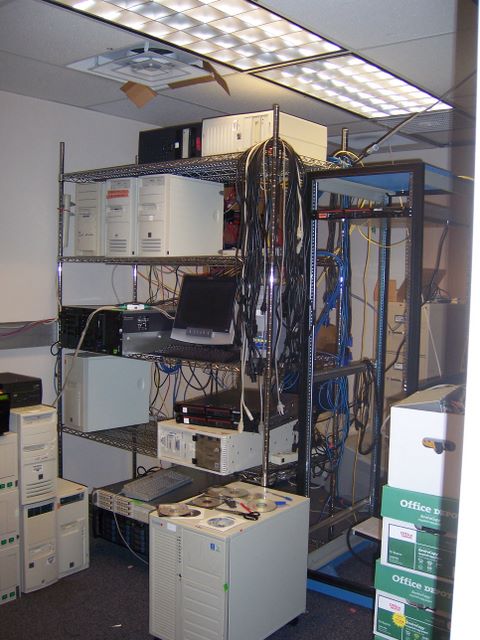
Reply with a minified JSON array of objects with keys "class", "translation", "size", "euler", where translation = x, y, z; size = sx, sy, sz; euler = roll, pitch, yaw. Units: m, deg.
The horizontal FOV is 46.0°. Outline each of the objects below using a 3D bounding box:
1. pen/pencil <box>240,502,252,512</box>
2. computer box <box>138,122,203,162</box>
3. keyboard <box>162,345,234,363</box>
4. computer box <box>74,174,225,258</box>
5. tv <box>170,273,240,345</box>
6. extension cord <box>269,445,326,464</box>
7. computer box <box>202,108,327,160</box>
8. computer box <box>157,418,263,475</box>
[{"class":"pen/pencil","translation":[0.031,0.724,2.189],"size":[0.013,0.012,0.081],"euler":[-17,3,-10]},{"class":"computer box","translation":[-0.312,-0.904,3.030],"size":[0.412,0.189,0.224],"euler":[3,2,29]},{"class":"keyboard","translation":[-0.196,0.168,2.742],"size":[0.195,0.091,0.459],"euler":[-5,0,-39]},{"class":"computer box","translation":[-0.458,-0.539,3.031],"size":[0.631,0.484,0.496],"euler":[7,10,38]},{"class":"tv","translation":[-0.153,-0.076,2.806],"size":[0.371,0.333,0.157],"euler":[10,12,35]},{"class":"extension cord","translation":[0.267,0.649,2.724],"size":[0.293,0.055,0.047],"euler":[-1,11,-43]},{"class":"computer box","translation":[0.165,-0.871,2.657],"size":[0.662,0.244,0.384],"euler":[-5,0,-13]},{"class":"computer box","translation":[-0.139,0.602,2.708],"size":[0.443,0.194,0.333],"euler":[1,-3,42]}]
